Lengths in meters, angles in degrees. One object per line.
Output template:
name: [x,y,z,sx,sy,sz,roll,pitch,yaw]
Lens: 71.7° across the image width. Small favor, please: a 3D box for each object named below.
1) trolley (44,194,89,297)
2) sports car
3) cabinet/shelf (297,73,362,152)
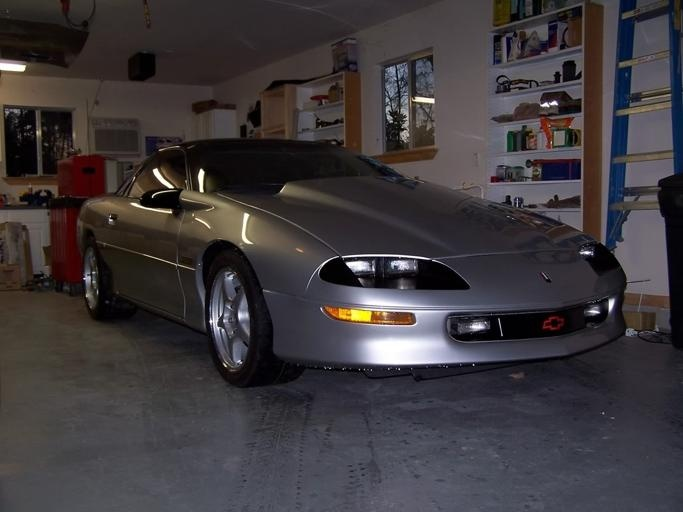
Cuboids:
trolley: [-3.460,-0.283,6.130,0.479,0.778,0.500,0,-4,0]
sports car: [-0.367,0.133,2.745,1.480,0.911,2.890,-1,5,-39]
cabinet/shelf: [-0.187,-2.525,8.477,0.351,1.245,1.368,-9,13,-33]
